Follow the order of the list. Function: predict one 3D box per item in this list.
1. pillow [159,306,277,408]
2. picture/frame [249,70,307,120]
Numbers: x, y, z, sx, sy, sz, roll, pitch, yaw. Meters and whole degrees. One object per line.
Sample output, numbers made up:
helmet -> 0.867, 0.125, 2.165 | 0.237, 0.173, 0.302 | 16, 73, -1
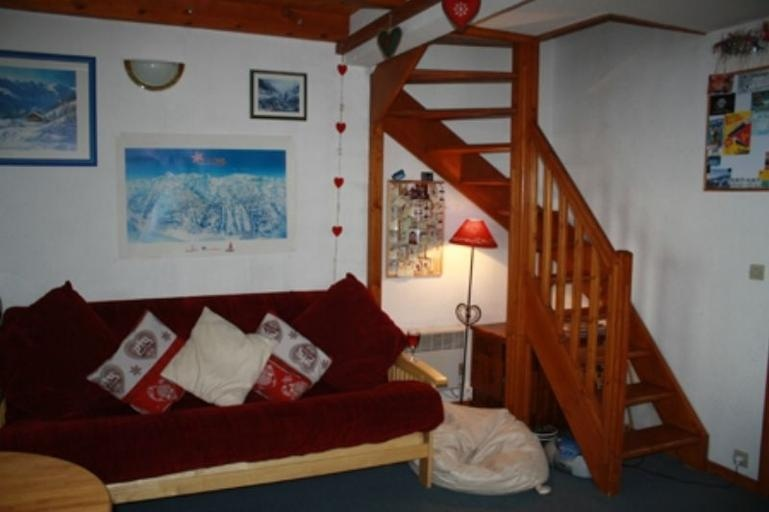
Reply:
pillow -> -1.139, 0.721, 4.014 | 0.574, 0.576, 0.189 | 31, -25, 6
picture/frame -> -0.893, -1.332, 4.680 | 0.437, 0.361, 0.018 | 0, 4, -17
